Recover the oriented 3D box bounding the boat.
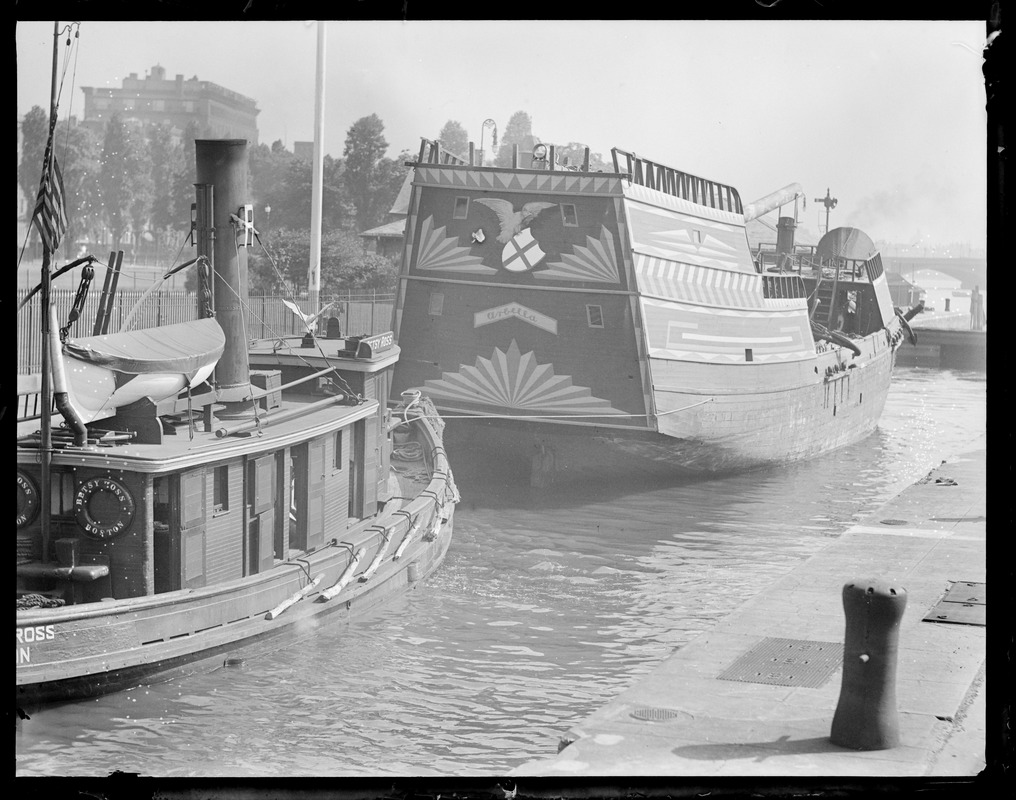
[{"bbox_3d":[-3.697,-0.534,17.907,2.297,5.601,8.569,-5,4,19],"label":"boat"}]

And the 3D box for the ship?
[{"bbox_3d":[5.634,-2.444,36.889,6.847,6.753,18.853,5,6,35],"label":"ship"}]

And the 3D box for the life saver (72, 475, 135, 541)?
[{"bbox_3d":[-4.478,1.186,15.739,0.731,0.714,0.102,4,6,13],"label":"life saver"}]
